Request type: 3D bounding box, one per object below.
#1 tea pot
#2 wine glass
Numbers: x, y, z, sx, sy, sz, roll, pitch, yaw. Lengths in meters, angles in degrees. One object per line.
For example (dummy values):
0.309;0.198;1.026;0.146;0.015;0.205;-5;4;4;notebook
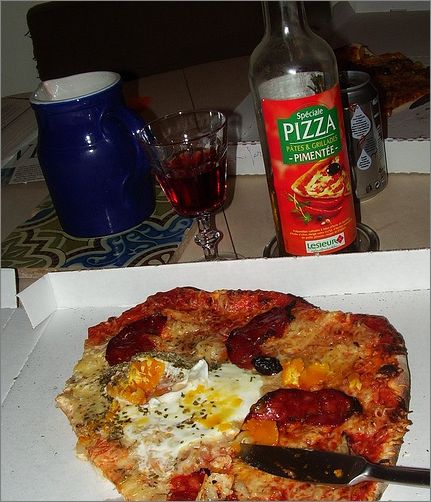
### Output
-0.314;-0.257;1.256;0.311;0.406;0.319;-10;30;6;tea pot
0.013;-0.105;1.086;0.212;0.399;0.189;-10;32;11;wine glass
